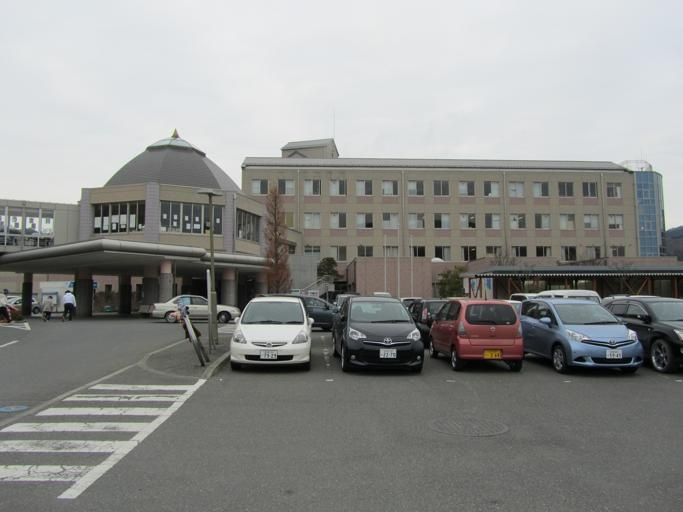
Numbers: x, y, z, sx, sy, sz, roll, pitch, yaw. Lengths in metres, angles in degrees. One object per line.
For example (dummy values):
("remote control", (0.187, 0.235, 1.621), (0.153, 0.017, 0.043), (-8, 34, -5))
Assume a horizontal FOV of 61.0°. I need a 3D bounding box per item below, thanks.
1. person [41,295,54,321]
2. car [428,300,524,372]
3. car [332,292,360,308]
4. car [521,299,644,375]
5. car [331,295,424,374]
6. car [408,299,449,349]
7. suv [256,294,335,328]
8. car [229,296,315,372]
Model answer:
("person", (-17.006, 2.931, 33.358), (0.437, 1.447, 2.952), (-2, 0, -29))
("car", (3.484, 1.881, 15.114), (1.273, 1.247, 2.517), (0, -1, -2))
("car", (0.082, 1.945, 26.248), (0.709, 0.701, 1.663), (0, -14, -5))
("car", (6.047, 1.954, 14.804), (1.684, 1.719, 2.877), (-2, 0, -9))
("car", (0.914, 1.942, 14.668), (2.071, 1.783, 2.475), (-2, 0, 2))
("car", (3.033, 2.199, 19.981), (1.070, 1.084, 1.957), (-1, -2, 2))
("suv", (-1.760, 2.657, 25.156), (2.901, 1.452, 1.785), (-1, 0, -2))
("car", (-1.733, 1.978, 14.498), (1.921, 1.751, 1.882), (-2, 0, -2))
